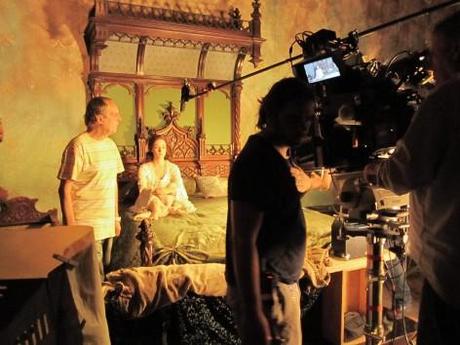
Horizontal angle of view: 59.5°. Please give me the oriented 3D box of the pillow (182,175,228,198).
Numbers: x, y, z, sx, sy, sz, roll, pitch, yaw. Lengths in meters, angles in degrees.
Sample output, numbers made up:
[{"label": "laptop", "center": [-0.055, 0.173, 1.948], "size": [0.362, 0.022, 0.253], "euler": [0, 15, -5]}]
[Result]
[{"label": "pillow", "center": [-0.372, 0.208, 6.049], "size": [0.436, 0.133, 0.393], "euler": [-1, 24, -11]}]

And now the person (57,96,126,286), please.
[{"label": "person", "center": [-1.134, 0.151, 3.423], "size": [0.392, 1.609, 0.604], "euler": [-1, -1, 13]}]

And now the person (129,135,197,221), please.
[{"label": "person", "center": [-0.685, 0.041, 5.052], "size": [0.850, 0.999, 0.958], "euler": [0, 3, -32]}]
